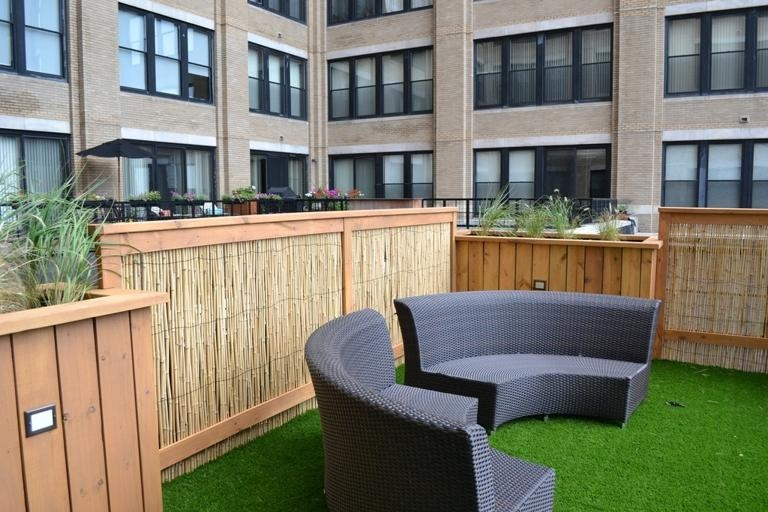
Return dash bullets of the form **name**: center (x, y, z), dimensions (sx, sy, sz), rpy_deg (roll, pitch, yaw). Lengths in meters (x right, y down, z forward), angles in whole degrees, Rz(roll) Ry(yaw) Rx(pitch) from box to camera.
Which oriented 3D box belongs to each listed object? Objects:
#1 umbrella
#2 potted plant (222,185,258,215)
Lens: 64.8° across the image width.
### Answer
- **umbrella**: center (-6.925, -2.380, 15.736), dimensions (1.725, 1.665, 1.699), rpy_deg (1, 3, 10)
- **potted plant**: center (-4.368, -1.706, 18.418), dimensions (0.945, 0.738, 2.563), rpy_deg (-3, 7, -14)
